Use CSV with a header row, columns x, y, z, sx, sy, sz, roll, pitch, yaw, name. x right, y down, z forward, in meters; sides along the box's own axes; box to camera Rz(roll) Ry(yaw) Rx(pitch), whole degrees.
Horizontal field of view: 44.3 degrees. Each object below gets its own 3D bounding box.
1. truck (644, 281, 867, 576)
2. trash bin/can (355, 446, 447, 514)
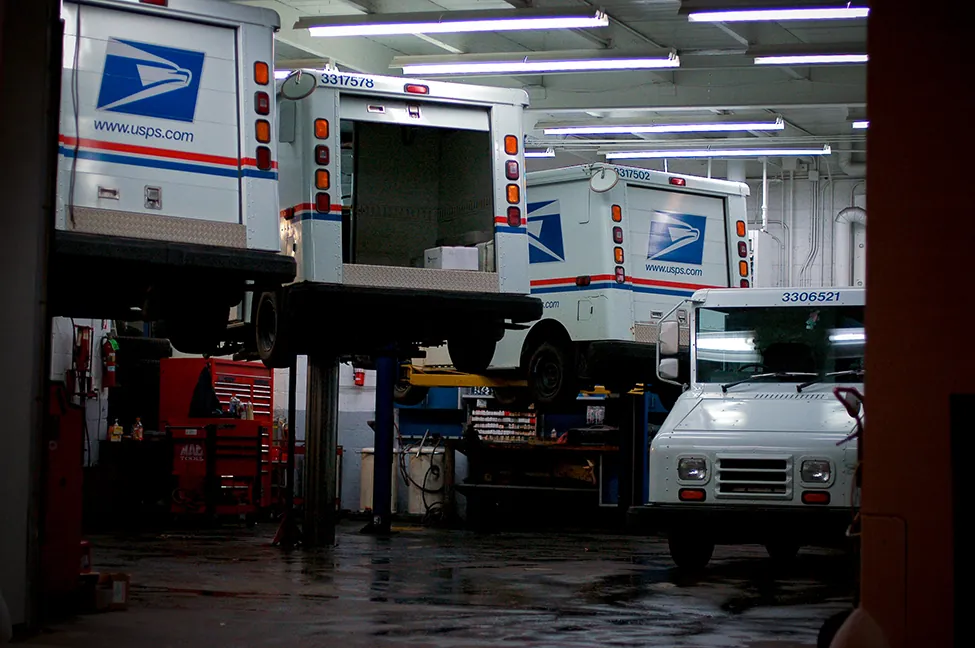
x,y,z,sx,sy,sz,roll,pitch,yaw,name
2.913,1.006,12.792,1.991,1.874,3.233,-1,-6,15,truck
-1.313,2.355,18.107,0.947,1.074,1.445,2,-3,-25,trash bin/can
